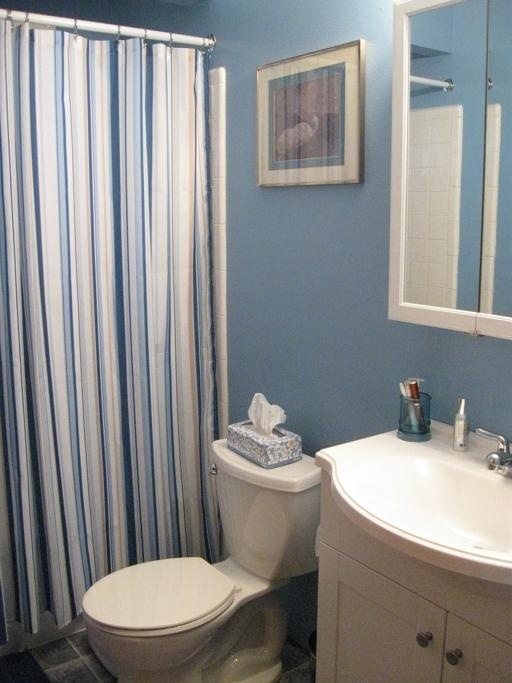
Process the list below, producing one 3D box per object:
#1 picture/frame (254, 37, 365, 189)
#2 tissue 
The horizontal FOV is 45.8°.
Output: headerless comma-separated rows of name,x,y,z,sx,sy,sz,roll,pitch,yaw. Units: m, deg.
picture/frame,0.155,-0.632,1.655,0.027,0.409,0.409,-6,10,-31
tissue ,0.018,0.169,1.822,0.149,0.275,0.289,-6,11,-28
